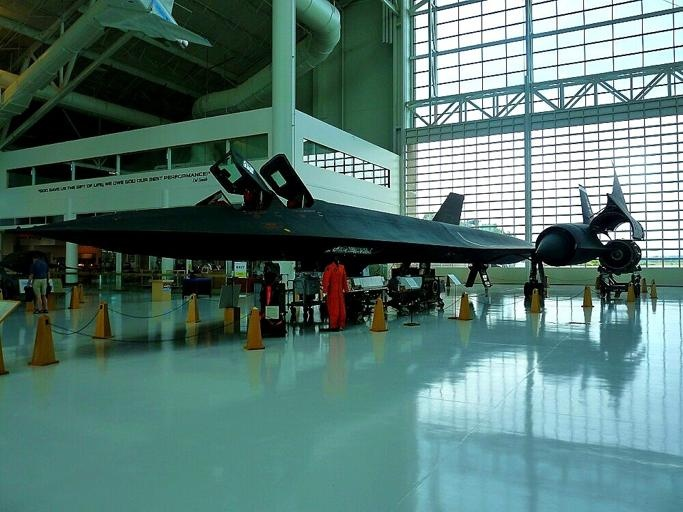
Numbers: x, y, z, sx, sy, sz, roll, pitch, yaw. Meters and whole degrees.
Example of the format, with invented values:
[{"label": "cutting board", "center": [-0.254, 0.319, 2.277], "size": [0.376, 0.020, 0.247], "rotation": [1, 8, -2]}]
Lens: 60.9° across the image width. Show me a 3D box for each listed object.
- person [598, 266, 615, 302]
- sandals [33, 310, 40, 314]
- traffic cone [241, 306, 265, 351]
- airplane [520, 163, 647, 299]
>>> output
[{"label": "person", "center": [8.808, 0.936, 19.361], "size": [0.717, 1.104, 0.334], "rotation": [-5, -3, 26]}, {"label": "sandals", "center": [-8.375, 1.541, 15.986], "size": [0.140, 0.063, 0.182], "rotation": [0, -1, -36]}, {"label": "traffic cone", "center": [-1.671, 1.349, 11.082], "size": [0.383, 0.881, 1.133], "rotation": [-2, 12, -10]}, {"label": "airplane", "center": [7.408, -0.862, 18.963], "size": [4.693, 3.095, 3.372], "rotation": [-2, 2, -43]}]
